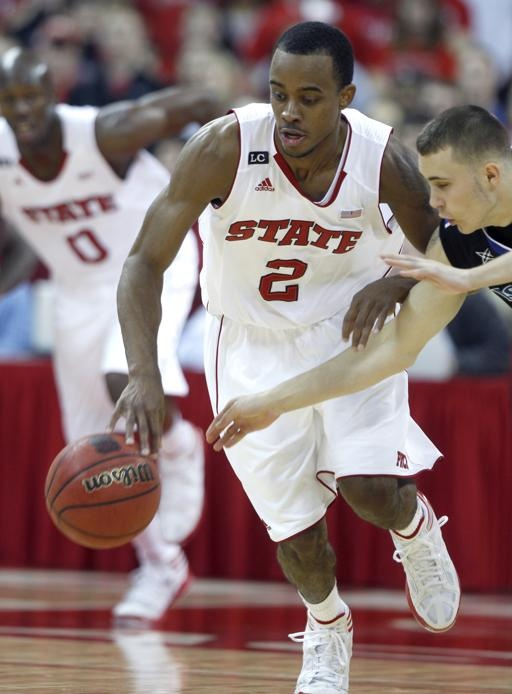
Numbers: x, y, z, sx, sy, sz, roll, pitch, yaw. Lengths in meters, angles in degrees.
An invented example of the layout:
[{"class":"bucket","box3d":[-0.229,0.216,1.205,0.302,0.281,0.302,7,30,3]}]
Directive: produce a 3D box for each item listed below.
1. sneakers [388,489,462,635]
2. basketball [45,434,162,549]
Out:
[{"class":"sneakers","box3d":[0.456,0.544,2.257,0.171,0.164,0.376,-20,78,16]},{"class":"basketball","box3d":[-0.354,0.329,1.989,0.264,0.226,0.267,2,6,28]}]
